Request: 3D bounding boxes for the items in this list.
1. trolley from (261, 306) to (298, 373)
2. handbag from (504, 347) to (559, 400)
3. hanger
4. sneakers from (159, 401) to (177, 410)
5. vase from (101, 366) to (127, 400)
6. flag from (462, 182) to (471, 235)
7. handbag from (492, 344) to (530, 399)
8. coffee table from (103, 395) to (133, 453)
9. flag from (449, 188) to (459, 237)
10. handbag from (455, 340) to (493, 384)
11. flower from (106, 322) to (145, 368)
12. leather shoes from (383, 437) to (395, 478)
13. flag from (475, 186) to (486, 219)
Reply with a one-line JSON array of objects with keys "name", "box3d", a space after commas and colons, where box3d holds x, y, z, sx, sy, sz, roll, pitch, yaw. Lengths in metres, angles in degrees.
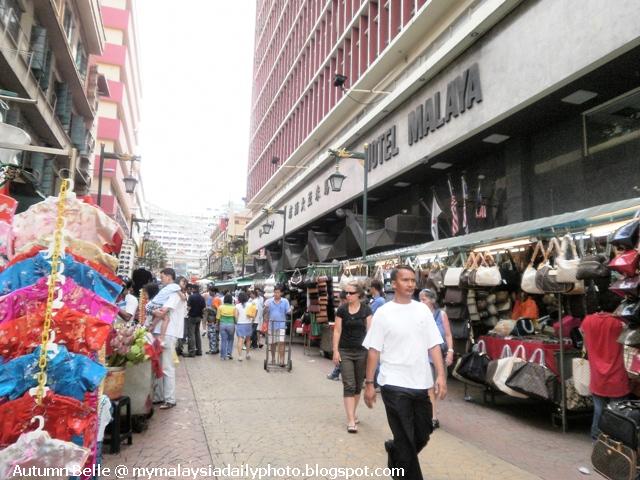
[{"name": "trolley", "box3d": [-1.129, 2.896, 12.673, 0.751, 1.487, 0.858, 6, -22, -9]}, {"name": "handbag", "box3d": [3.485, 2.210, 7.517, 0.729, 0.816, 0.322, 12, -30, 36]}, {"name": "hanger", "box3d": [-2.738, 0.644, 4.672, 0.318, 1.983, 0.454, 2, 0, -16]}, {"name": "sneakers", "box3d": [-2.677, 2.914, 8.045, 0.252, 0.099, 0.238, 0, -7, -7]}, {"name": "vase", "box3d": [-2.833, 1.969, 6.252, 0.145, 0.406, 0.395, -2, -6, 9]}, {"name": "flag", "box3d": [5.433, -1.347, 17.195, 0.281, 2.303, 0.719, -3, -6, 17]}, {"name": "handbag", "box3d": [3.312, 2.252, 7.893, 0.629, 1.001, 0.693, 3, 1, -16]}, {"name": "coffee table", "box3d": [-2.754, 2.494, 6.271, 0.368, 0.674, 1.107, 2, -7, -22]}, {"name": "flag", "box3d": [5.188, -1.118, 17.685, 0.300, 2.009, 0.952, -3, -6, 17]}, {"name": "handbag", "box3d": [2.900, 2.319, 8.539, 0.563, 0.769, 0.594, 9, 0, -16]}, {"name": "flower", "box3d": [-2.717, 1.492, 6.438, 0.427, 0.590, 0.428, 6, 1, -4]}, {"name": "leather shoes", "box3d": [0.759, 2.372, 4.971, 0.088, 0.386, 0.226, -2, -6, 9]}, {"name": "flag", "box3d": [5.722, -1.328, 16.312, 0.215, 1.287, 0.755, 0, -6, -8]}]
